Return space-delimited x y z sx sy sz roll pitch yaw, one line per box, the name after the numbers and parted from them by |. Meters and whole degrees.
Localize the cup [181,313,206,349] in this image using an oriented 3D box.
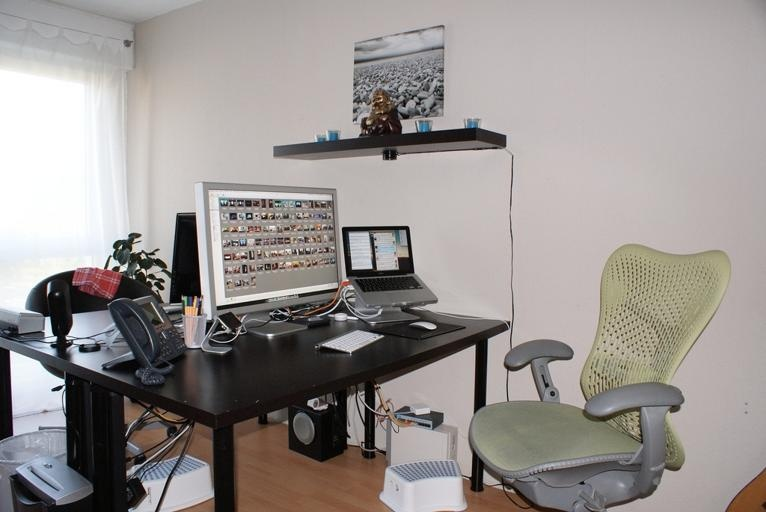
-0.867 0.341 2.598 0.116 0.142 0.115 3 1 0 | cup

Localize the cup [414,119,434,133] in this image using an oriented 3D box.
0.217 -0.721 3.143 0.088 0.082 0.110 -7 9 -43 | cup

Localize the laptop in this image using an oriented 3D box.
0.034 0.048 3.148 0.545 0.314 0.509 -12 30 -43 | laptop

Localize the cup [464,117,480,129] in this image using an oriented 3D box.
0.477 -0.706 3.007 0.074 0.045 0.074 -2 7 0 | cup

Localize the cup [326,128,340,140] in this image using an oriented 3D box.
-0.293 -0.719 3.315 0.066 0.052 0.074 0 1 -18 | cup

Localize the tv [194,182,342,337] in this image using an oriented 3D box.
-0.595 0.027 2.801 0.772 0.654 0.185 -4 3 -43 | tv

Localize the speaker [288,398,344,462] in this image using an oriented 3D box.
-0.421 1.110 3.590 0.356 0.308 0.290 2 2 32 | speaker

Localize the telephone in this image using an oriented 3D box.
-1.015 0.319 2.399 0.299 0.287 0.376 6 7 -10 | telephone
